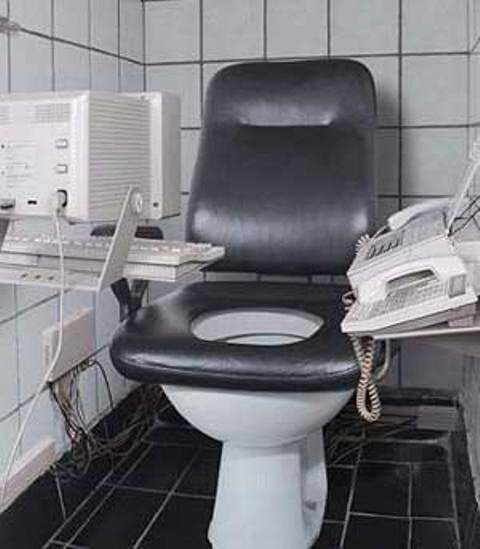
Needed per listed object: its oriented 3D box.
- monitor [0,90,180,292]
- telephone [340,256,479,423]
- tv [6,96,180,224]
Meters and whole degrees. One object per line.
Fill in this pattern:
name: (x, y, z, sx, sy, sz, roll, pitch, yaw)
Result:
monitor: (-0.221, -0.144, 0.966, 0.205, 0.350, 0.400, 7, 13, 35)
telephone: (0.210, 0.078, 0.778, 0.179, 0.239, 0.216, 5, 26, 15)
tv: (-0.241, -0.184, 0.880, 0.122, 0.160, 0.220, 9, 13, 36)
